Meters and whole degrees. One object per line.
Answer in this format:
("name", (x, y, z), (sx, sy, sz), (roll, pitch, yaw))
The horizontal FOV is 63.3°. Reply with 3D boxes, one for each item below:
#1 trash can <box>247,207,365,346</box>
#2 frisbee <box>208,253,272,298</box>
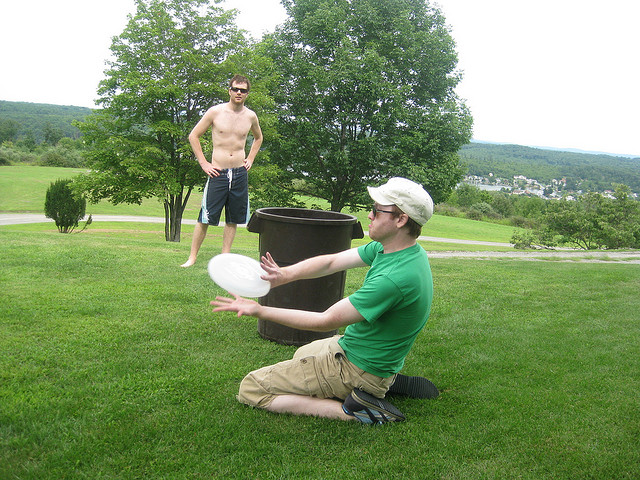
("trash can", (-0.245, 0.336, 5.928), (1.194, 1.579, 1.069), (4, 6, -10))
("frisbee", (-0.668, 0.286, 4.246), (0.526, 0.276, 0.545), (2, 7, -36))
